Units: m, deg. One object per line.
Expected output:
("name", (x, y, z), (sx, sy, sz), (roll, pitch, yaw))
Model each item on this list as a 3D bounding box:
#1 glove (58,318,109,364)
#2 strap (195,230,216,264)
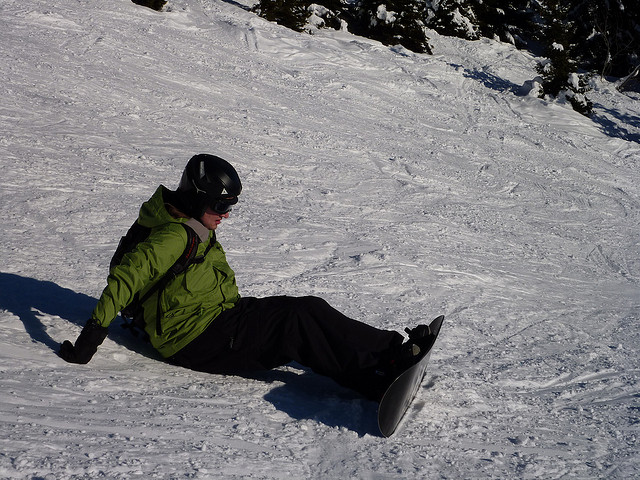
("glove", (-2.263, 0.947, 7.159), (0.317, 0.524, 0.154), (29, 21, -3))
("strap", (-1.118, 0.083, 7.393), (0.089, 0.253, 0.230), (26, -11, -26))
